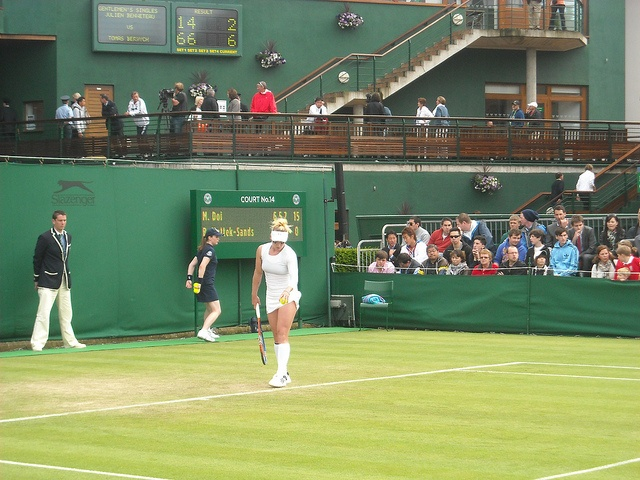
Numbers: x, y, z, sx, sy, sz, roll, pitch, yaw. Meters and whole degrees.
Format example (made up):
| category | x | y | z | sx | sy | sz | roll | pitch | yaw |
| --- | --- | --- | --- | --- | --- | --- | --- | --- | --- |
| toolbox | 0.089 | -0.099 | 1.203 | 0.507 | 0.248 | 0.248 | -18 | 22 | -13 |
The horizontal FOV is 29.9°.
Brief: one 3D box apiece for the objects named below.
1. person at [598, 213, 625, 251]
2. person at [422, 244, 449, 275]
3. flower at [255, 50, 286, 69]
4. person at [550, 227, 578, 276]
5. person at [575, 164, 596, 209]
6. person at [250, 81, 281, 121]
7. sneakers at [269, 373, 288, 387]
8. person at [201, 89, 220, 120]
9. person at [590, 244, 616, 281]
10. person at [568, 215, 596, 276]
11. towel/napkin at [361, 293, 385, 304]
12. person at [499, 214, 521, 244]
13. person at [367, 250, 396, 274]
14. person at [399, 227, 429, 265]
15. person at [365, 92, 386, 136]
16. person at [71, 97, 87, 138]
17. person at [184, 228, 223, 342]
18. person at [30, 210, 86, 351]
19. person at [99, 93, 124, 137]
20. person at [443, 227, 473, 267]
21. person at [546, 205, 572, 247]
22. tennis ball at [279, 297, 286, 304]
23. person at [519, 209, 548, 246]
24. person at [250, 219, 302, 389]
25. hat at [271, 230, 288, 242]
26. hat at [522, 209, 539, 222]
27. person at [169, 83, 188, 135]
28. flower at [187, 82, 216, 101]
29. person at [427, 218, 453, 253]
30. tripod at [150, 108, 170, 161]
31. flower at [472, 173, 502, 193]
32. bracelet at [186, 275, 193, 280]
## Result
| category | x | y | z | sx | sy | sz | roll | pitch | yaw |
| --- | --- | --- | --- | --- | --- | --- | --- | --- | --- |
| person | 6.493 | -0.109 | 26.744 | 0.575 | 0.900 | 0.568 | 6 | 24 | 24 |
| person | 2.587 | 0.510 | 27.833 | 0.622 | 0.809 | 0.959 | -5 | -2 | 14 |
| flower | -1.726 | -6.177 | 40.876 | 0.684 | 0.518 | 0.671 | 5 | 24 | -12 |
| person | 5.359 | 0.255 | 26.360 | 0.643 | 1.053 | 0.728 | 0 | -1 | 11 |
| person | 7.883 | -1.578 | 35.650 | 0.530 | 1.388 | 1.268 | 0 | -1 | 12 |
| person | -1.728 | -4.156 | 35.685 | 0.719 | 1.373 | 1.874 | 0 | -1 | -3 |
| sneakers | -0.733 | 2.439 | 20.780 | 0.349 | 0.223 | 0.205 | 0 | -1 | -15 |
| person | -3.212 | -3.976 | 34.545 | 0.504 | 1.035 | 1.435 | 0 | -1 | -6 |
| person | 6.190 | 0.565 | 26.078 | 0.562 | 0.843 | 0.644 | 0 | 8 | 13 |
| person | 5.871 | 0.230 | 26.971 | 0.601 | 1.516 | 0.913 | -2 | 19 | 18 |
| towel/napkin | 1.236 | 1.386 | 28.147 | 0.596 | 0.223 | 0.186 | -1 | -1 | 27 |
| person | 4.527 | -0.250 | 28.639 | 0.519 | 0.734 | 0.376 | 18 | -6 | 17 |
| person | 1.448 | 0.592 | 28.491 | 0.754 | 0.770 | 0.497 | 0 | -5 | 2 |
| person | 2.217 | 0.158 | 28.343 | 0.538 | 0.758 | 0.549 | -21 | -7 | -31 |
| person | 1.630 | -3.830 | 36.485 | 0.619 | 1.305 | 1.535 | 0 | -1 | 2 |
| person | -7.340 | -3.757 | 36.338 | 0.432 | 1.326 | 1.510 | 0 | -1 | -12 |
| person | -2.569 | 0.983 | 26.051 | 0.718 | 2.473 | 0.654 | 1 | -1 | -34 |
| person | -5.517 | 0.845 | 24.793 | 0.900 | 2.877 | 0.644 | 1 | -1 | -30 |
| person | -6.423 | -3.783 | 36.519 | 0.597 | 0.594 | 1.781 | 0 | 24 | -15 |
| person | 3.111 | 0.254 | 27.633 | 0.660 | 1.088 | 0.629 | 1 | 5 | 18 |
| person | 5.461 | 0.068 | 27.557 | 0.520 | 1.601 | 0.518 | 0 | 9 | 12 |
| tennis ball | -0.653 | 1.051 | 20.696 | 0.119 | 0.122 | 0.122 | 0 | -1 | 0 |
| person | 4.863 | -0.241 | 27.345 | 0.520 | 0.860 | 0.858 | 3 | -5 | -43 |
| person | -0.804 | 1.097 | 20.855 | 0.772 | 2.908 | 0.529 | -1 | -1 | 28 |
| hat | -0.726 | -0.056 | 20.704 | 0.272 | 0.193 | 0.226 | 0 | -1 | -10 |
| hat | 4.744 | -0.546 | 27.214 | 0.311 | 0.262 | 0.573 | 0 | -1 | 9 |
| person | -4.087 | -3.799 | 34.227 | 0.410 | 1.515 | 1.717 | 0 | -1 | -7 |
| flower | -4.020 | -4.957 | 39.432 | 1.087 | 0.501 | 1.095 | -3 | 4 | -16 |
| person | 2.878 | -0.080 | 28.863 | 0.636 | 0.763 | 0.431 | 17 | 8 | 1 |
| tripod | -4.642 | -2.982 | 34.442 | 0.589 | 1.628 | 1.658 | 0 | -5 | -7 |
| flower | 5.242 | -1.789 | 37.604 | 0.897 | 0.626 | 0.554 | 1 | -1 | -28 |
| bracelet | -2.889 | 0.810 | 26.126 | 0.107 | 0.108 | 0.104 | 1 | -1 | -3 |
